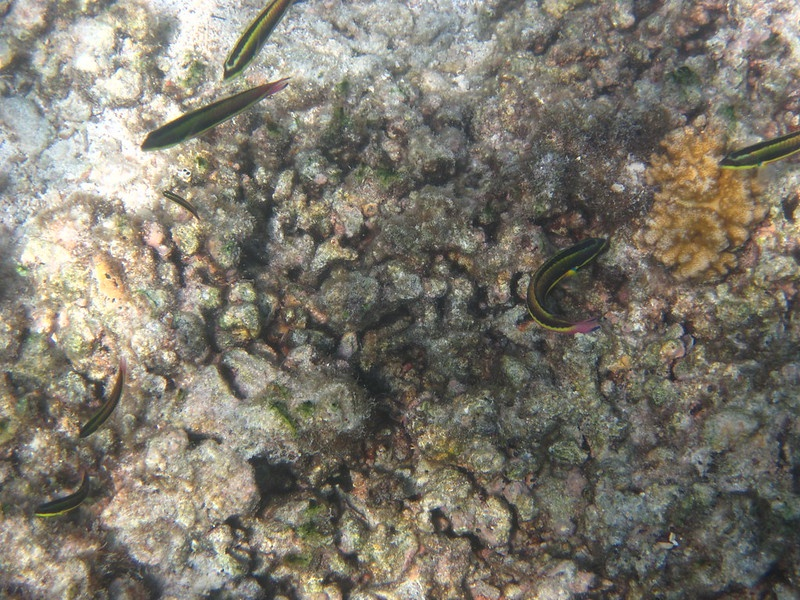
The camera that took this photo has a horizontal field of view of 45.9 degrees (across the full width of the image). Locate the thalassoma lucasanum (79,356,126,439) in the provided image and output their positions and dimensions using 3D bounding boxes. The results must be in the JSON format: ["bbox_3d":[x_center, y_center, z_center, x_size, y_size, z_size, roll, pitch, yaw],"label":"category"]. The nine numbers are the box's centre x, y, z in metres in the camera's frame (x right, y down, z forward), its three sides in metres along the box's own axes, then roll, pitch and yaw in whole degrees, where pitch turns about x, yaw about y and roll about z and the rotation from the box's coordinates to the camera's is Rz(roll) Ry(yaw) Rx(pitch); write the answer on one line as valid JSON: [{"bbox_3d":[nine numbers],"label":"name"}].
[{"bbox_3d":[-2.995,1.056,9.587,0.236,1.355,0.222,27,21,22],"label":"thalassoma lucasanum"}]

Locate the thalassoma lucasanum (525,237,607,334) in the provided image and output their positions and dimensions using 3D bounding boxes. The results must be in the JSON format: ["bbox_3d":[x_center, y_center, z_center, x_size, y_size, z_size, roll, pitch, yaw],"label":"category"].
[{"bbox_3d":[1.668,-0.239,9.457,0.662,0.226,1.002,35,90,32],"label":"thalassoma lucasanum"}]

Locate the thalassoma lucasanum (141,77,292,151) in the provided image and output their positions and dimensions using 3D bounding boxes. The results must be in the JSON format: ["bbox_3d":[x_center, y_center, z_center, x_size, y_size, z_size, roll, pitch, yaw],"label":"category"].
[{"bbox_3d":[-1.918,-1.923,9.886,1.269,0.232,0.252,-31,40,5],"label":"thalassoma lucasanum"}]

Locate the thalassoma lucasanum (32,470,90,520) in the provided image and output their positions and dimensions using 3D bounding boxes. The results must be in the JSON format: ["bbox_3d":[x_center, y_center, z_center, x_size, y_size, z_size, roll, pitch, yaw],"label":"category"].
[{"bbox_3d":[-3.336,1.955,9.432,0.447,0.130,0.360,-12,50,-40],"label":"thalassoma lucasanum"}]
